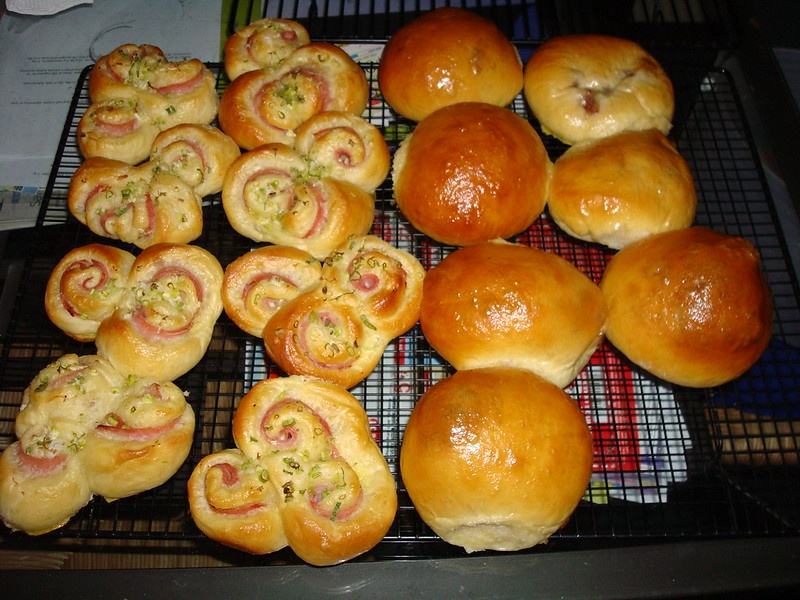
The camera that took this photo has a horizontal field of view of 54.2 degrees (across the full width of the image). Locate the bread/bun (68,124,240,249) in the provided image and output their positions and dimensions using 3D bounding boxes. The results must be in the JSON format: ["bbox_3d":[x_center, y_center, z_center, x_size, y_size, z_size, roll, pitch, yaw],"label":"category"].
[{"bbox_3d":[-1.294,-0.571,4.132,0.924,0.312,0.567,-14,57,-10],"label":"bread/bun"}]

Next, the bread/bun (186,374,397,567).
[{"bbox_3d":[-0.490,0.787,3.753,0.968,0.358,0.747,8,56,4],"label":"bread/bun"}]
